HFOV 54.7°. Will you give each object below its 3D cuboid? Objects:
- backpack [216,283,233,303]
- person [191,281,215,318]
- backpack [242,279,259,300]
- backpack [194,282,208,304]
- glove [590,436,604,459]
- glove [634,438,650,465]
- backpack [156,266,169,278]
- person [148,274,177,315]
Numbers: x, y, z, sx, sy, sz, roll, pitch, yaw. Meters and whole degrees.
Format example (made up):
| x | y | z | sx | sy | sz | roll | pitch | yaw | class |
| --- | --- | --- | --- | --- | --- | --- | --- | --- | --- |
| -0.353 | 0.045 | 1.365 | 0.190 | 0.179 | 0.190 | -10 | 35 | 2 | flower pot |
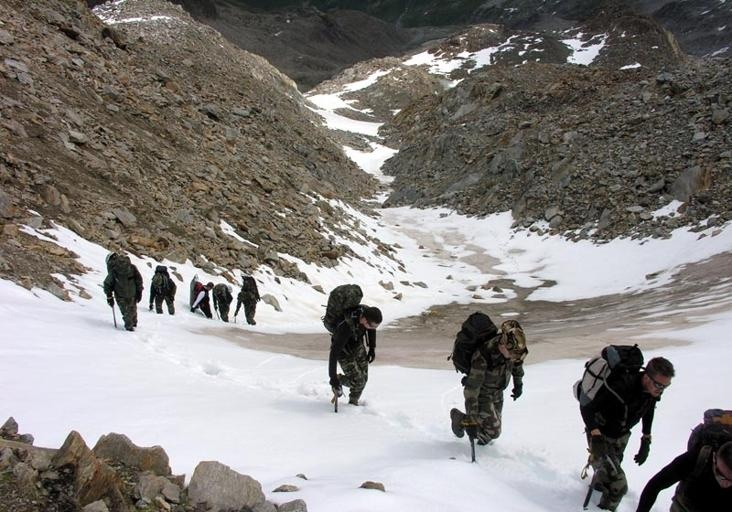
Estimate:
| x | y | z | sx | sy | sz | roll | pitch | yaw | class |
| --- | --- | --- | --- | --- | --- | --- | --- | --- | --- |
| -5.149 | 1.323 | 25.337 | 0.677 | 0.643 | 0.286 | 4 | -6 | -9 | backpack |
| -5.842 | 1.549 | 25.130 | 0.614 | 0.722 | 1.319 | -22 | -26 | -18 | person |
| -4.106 | 1.156 | 25.195 | 0.602 | 0.806 | 0.385 | 5 | -7 | -20 | backpack |
| -5.851 | 1.355 | 24.926 | 0.451 | 0.688 | 0.642 | 25 | 12 | -20 | backpack |
| 5.604 | 4.642 | 17.139 | 0.398 | 0.494 | 0.214 | 4 | 3 | 5 | glove |
| 6.724 | 4.759 | 17.223 | 0.255 | 0.619 | 0.443 | 17 | -3 | 17 | glove |
| -6.880 | 0.503 | 23.837 | 0.394 | 0.322 | 0.257 | 7 | -7 | -38 | backpack |
| -6.900 | 1.265 | 24.043 | 0.870 | 1.459 | 0.781 | 5 | -7 | -15 | person |
